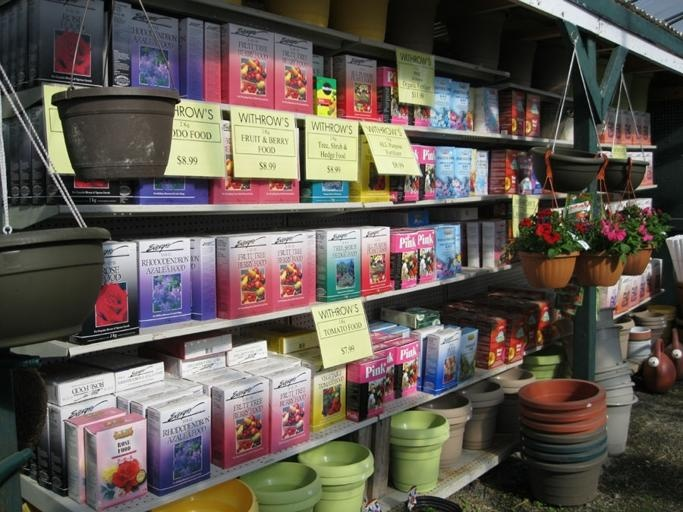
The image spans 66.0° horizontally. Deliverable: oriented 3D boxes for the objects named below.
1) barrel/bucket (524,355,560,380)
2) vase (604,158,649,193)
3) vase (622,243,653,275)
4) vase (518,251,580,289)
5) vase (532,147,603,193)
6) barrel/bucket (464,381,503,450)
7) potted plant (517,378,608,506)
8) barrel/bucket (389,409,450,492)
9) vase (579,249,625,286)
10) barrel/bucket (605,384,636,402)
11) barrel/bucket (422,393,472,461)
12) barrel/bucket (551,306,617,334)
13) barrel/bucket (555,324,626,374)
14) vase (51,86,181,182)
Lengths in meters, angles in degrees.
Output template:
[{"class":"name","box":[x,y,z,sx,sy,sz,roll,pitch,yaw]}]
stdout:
[{"class":"barrel/bucket","box":[1.682,0.909,4.439,0.230,0.158,0.236,0,4,0]},{"class":"vase","box":[1.963,-0.561,3.626,0.256,0.158,0.270,5,8,25]},{"class":"vase","box":[2.021,0.025,3.573,0.229,0.191,0.238,1,3,12]},{"class":"vase","box":[1.239,0.076,3.159,0.249,0.160,0.259,1,3,28]},{"class":"vase","box":[1.379,-0.525,3.183,0.439,0.268,0.260,-7,13,-23]},{"class":"barrel/bucket","box":[1.007,1.111,3.831,0.366,0.422,0.382,-2,9,0]},{"class":"potted plant","box":[1.433,1.211,3.436,0.529,0.713,0.389,-4,12,-11]},{"class":"barrel/bucket","box":[0.474,1.187,3.361,0.402,0.408,0.442,-5,-2,0]},{"class":"vase","box":[1.635,0.049,3.318,0.234,0.172,0.241,2,2,44]},{"class":"barrel/bucket","box":[2.059,0.998,3.854,0.149,0.145,0.146,-1,3,0]},{"class":"barrel/bucket","box":[0.748,1.165,3.593,0.358,0.410,0.369,1,2,0]},{"class":"barrel/bucket","box":[1.939,0.516,4.146,0.367,0.142,0.337,-4,-3,0]},{"class":"barrel/bucket","box":[1.892,0.704,4.098,0.505,0.396,0.477,-3,0,0]},{"class":"vase","box":[-0.720,-0.346,1.709,0.338,0.232,0.330,-4,5,-33]}]
